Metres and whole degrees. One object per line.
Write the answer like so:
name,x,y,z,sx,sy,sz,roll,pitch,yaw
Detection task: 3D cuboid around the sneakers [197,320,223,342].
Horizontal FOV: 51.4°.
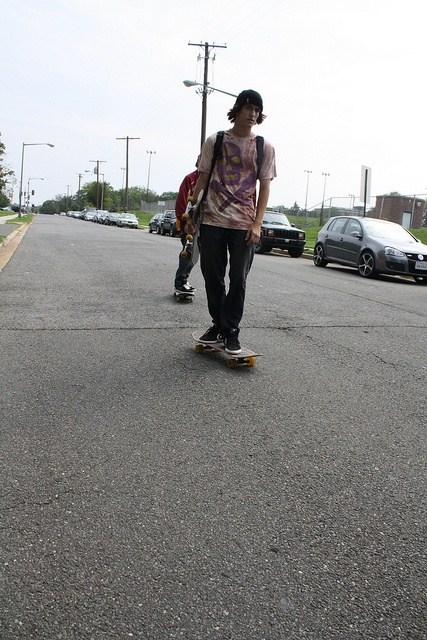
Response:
sneakers,-0.040,0.120,4.152,0.243,0.189,0.105,0,4,-13

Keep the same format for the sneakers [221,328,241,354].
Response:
sneakers,0.160,0.191,3.866,0.086,0.129,0.275,-3,10,-12

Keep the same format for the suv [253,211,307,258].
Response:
suv,3.028,-3.763,19.197,1.664,1.686,3.252,3,6,-14

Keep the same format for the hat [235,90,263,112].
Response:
hat,0.304,-1.833,3.652,0.215,0.156,0.172,3,4,2

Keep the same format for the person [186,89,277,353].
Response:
person,0.165,-0.827,3.862,0.698,2.212,0.340,3,3,6

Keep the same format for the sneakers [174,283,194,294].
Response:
sneakers,-0.438,-0.496,6.871,0.301,0.151,0.125,1,8,9

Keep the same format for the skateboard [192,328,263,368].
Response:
skateboard,0.089,0.204,4.105,0.235,0.171,0.891,-1,8,-20

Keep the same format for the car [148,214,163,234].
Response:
car,-4.553,-8.148,37.335,1.238,1.134,2.147,-3,8,-23
